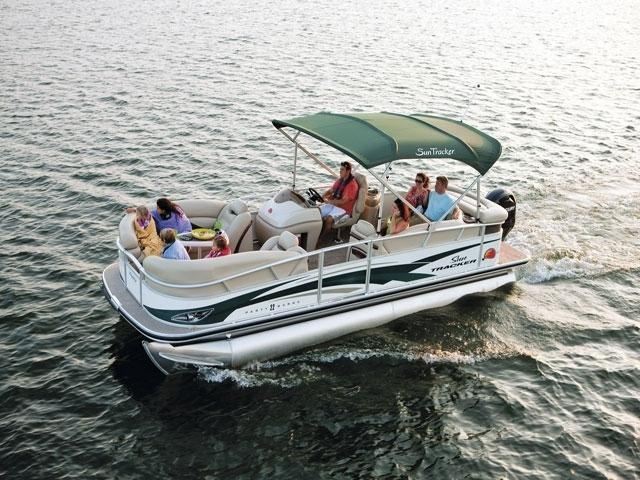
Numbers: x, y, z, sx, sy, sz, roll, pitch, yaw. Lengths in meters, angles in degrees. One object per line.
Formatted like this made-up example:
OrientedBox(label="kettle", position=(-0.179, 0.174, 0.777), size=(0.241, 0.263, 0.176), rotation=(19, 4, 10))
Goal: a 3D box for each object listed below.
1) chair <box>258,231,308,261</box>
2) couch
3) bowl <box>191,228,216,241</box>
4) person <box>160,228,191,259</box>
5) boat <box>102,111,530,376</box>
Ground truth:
OrientedBox(label="chair", position=(-0.724, 0.162, 14.481), size=(0.762, 0.500, 0.660), rotation=(-5, 33, -41))
OrientedBox(label="couch", position=(-3.018, -0.112, 14.929), size=(2.669, 0.911, 1.483), rotation=(0, 24, -20))
OrientedBox(label="bowl", position=(-2.504, -0.085, 14.731), size=(0.425, 0.083, 0.327), rotation=(-2, 16, -19))
OrientedBox(label="person", position=(-2.940, 0.149, 13.755), size=(0.530, 0.627, 0.660), rotation=(-6, 40, -11))
OrientedBox(label="boat", position=(-0.788, -0.417, 15.250), size=(12.852, 4.076, 4.144), rotation=(-7, 31, -19))
